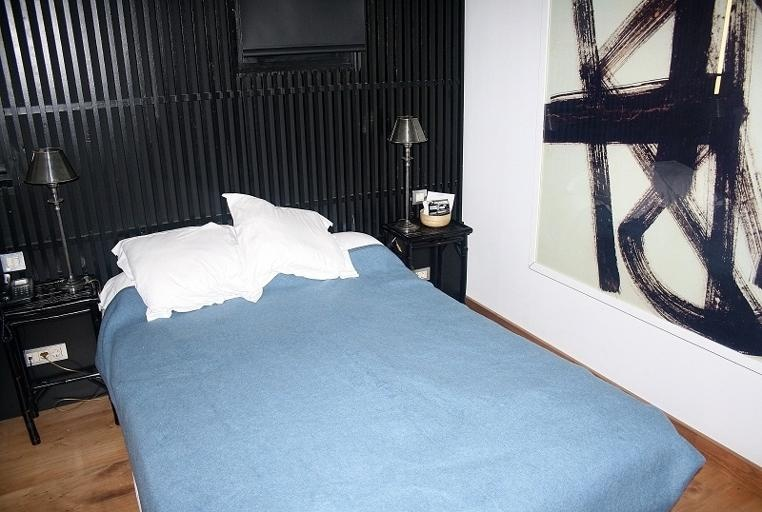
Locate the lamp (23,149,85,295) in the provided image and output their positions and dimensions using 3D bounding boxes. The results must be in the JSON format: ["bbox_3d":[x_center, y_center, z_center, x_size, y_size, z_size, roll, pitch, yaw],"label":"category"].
[{"bbox_3d":[-2.072,-0.238,3.394,0.283,0.925,0.381,-12,17,-31],"label":"lamp"}]

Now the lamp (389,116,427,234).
[{"bbox_3d":[0.226,-0.668,4.209,0.278,0.909,0.457,-2,14,6],"label":"lamp"}]

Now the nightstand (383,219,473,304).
[{"bbox_3d":[0.339,0.022,4.070,0.442,0.774,0.478,-15,24,-31],"label":"nightstand"}]
